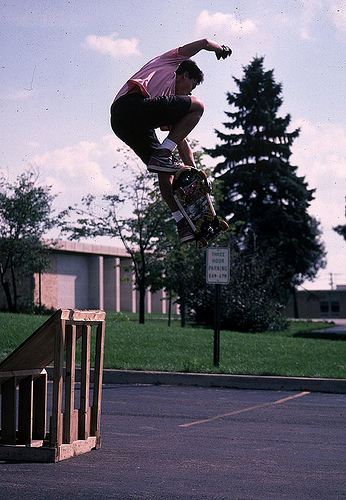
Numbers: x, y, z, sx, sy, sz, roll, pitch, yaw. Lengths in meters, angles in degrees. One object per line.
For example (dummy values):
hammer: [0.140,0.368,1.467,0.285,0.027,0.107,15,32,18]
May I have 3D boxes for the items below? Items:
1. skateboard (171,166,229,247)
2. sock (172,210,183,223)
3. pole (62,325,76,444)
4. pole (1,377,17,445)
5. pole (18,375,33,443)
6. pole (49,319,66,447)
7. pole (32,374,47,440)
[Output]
skateboard: [0.238,-0.443,10.039,0.378,0.945,0.140,-35,35,-15]
sock: [0.036,-0.339,10.260,0.065,0.104,0.279,1,-4,-13]
pole: [-0.923,1.238,9.284,0.131,0.990,0.094,5,-21,-6]
pole: [-1.461,1.425,9.252,0.128,0.591,0.147,1,-4,-9]
pole: [-1.333,1.425,9.375,0.123,0.599,0.193,1,-4,-7]
pole: [-1.007,1.144,9.123,0.119,1.079,0.153,-10,17,-39]
pole: [-1.221,1.435,9.512,0.122,0.588,0.098,1,-4,-9]
